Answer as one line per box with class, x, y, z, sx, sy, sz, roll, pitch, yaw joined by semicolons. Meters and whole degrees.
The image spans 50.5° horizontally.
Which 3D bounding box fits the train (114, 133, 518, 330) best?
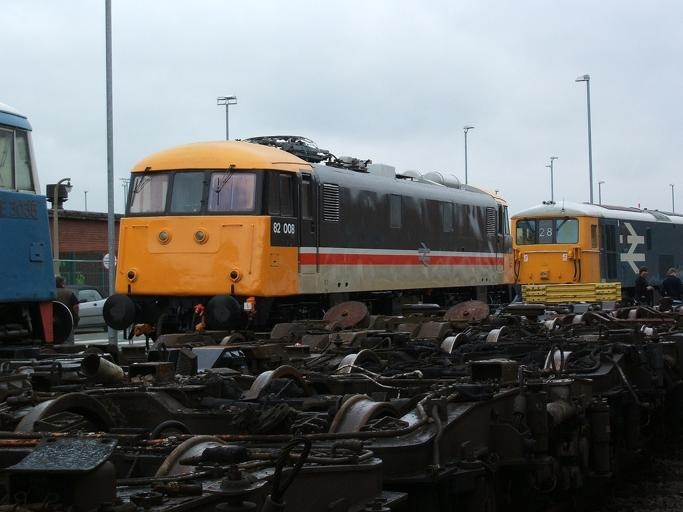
train;0.618;-0.729;22.083;4.604;4.374;15.560;1;3;34
